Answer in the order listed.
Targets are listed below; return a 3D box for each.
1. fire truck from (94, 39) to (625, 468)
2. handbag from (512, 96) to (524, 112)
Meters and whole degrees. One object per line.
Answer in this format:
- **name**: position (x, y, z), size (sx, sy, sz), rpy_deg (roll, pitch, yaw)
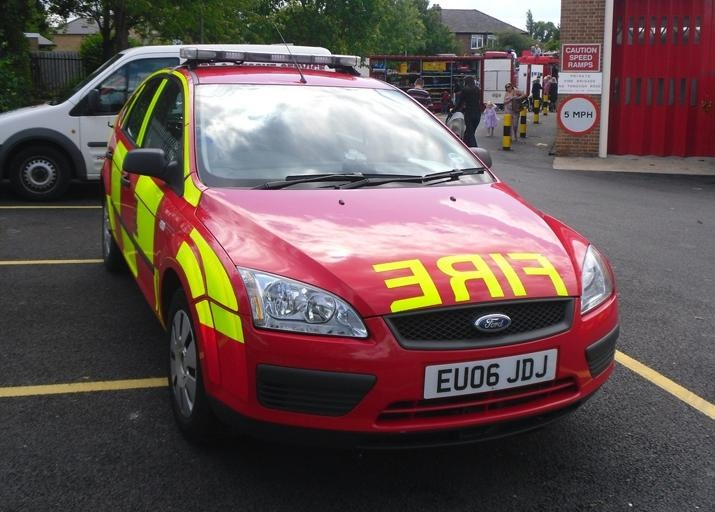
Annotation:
- **fire truck**: position (-0.171, -0.229, 3.318), size (2.097, 2.204, 3.081), rpy_deg (-11, 20, -37)
- **handbag**: position (6.354, -6.032, 20.806), size (0.399, 0.592, 0.225), rpy_deg (0, 14, -16)
